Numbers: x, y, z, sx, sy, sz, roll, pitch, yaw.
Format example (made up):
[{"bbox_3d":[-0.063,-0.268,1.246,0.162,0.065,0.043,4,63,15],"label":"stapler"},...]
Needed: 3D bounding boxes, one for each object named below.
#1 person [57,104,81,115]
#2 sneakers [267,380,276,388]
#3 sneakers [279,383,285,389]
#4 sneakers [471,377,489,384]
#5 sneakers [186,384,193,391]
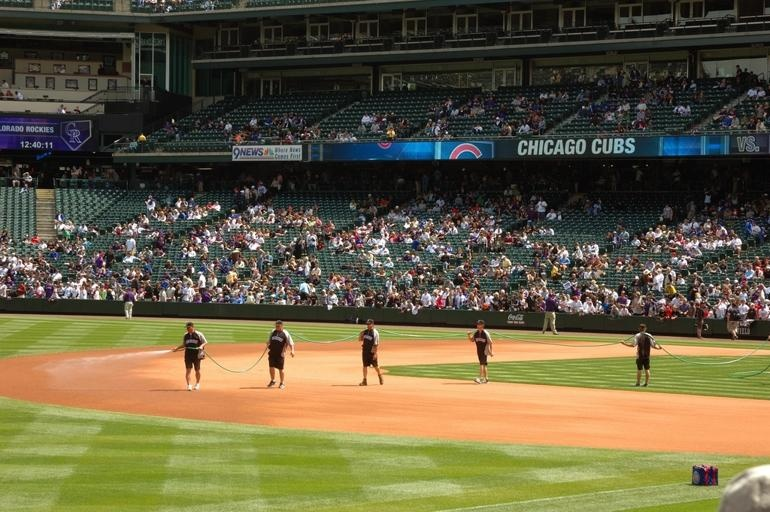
[{"bbox_3d":[-20.742,-9.675,94.693,1.067,0.866,1.070,-3,-4,29],"label":"person"},{"bbox_3d":[-4.747,5.368,60.662,0.390,0.231,0.214,-3,-4,33],"label":"sneakers"},{"bbox_3d":[-4.299,5.431,60.551,0.200,0.220,0.580,-1,-6,3],"label":"sneakers"},{"bbox_3d":[4.090,5.309,61.752,0.619,0.256,0.234,4,4,6],"label":"sneakers"},{"bbox_3d":[-8.085,5.457,60.172,0.215,0.254,0.267,4,-10,2],"label":"sneakers"}]
